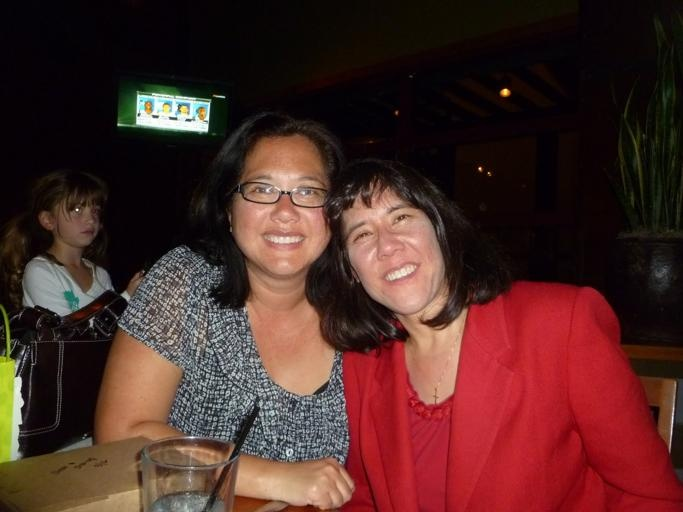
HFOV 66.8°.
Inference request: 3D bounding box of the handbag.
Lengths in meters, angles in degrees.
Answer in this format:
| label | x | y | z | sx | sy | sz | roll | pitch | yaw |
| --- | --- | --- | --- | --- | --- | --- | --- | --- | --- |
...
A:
| label | x | y | z | sx | sy | sz | roll | pitch | yaw |
| --- | --- | --- | --- | --- | --- | --- | --- | --- | --- |
| handbag | -1.076 | 0.486 | 2.022 | 0.303 | 0.581 | 0.570 | 17 | 9 | 23 |
